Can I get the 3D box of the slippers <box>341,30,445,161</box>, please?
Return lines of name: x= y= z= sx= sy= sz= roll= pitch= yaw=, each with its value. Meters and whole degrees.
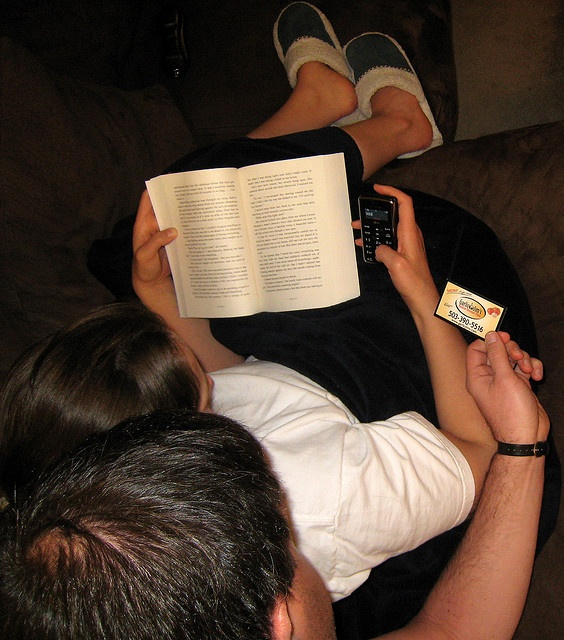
slippers: x=0.253 y=-0.525 z=1.446 sx=0.168 sy=0.161 sz=0.370 roll=-31 pitch=86 yaw=16
